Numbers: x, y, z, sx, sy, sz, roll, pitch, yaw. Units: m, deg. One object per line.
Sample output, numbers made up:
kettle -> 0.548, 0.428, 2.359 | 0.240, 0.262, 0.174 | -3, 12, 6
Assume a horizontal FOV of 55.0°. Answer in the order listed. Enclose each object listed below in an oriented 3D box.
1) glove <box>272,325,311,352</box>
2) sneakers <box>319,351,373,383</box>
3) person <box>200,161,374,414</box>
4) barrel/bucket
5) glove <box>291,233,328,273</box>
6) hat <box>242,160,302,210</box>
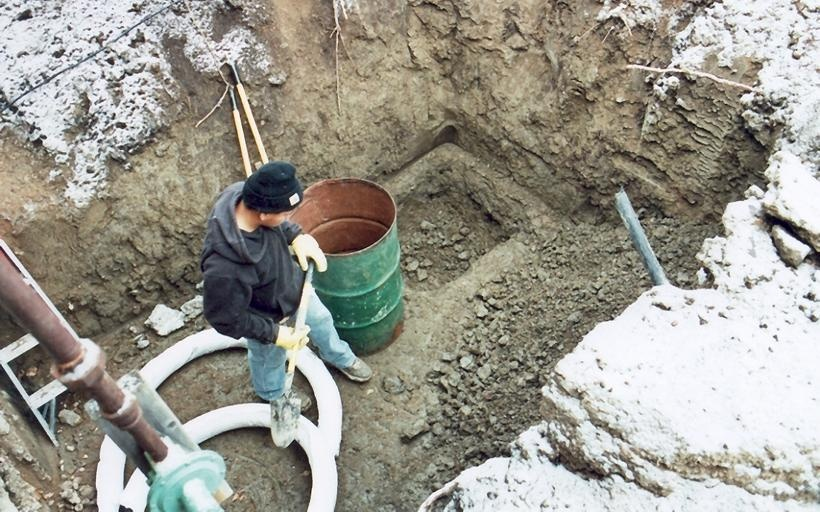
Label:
glove -> -0.889, 0.619, 5.834 | 0.213, 0.187, 0.355 | -4, 10, -1
sneakers -> -0.535, 0.961, 6.697 | 0.463, 0.205, 0.209 | 22, 71, 5
person -> -0.947, 0.354, 6.180 | 0.835, 1.923, 0.843 | 3, 66, 5
barrel/bucket -> -0.387, 0.135, 6.846 | 0.846, 1.299, 0.908 | -12, 46, 12
glove -> -0.767, -0.013, 6.078 | 0.227, 0.087, 0.297 | -39, 93, 1
hat -> -0.938, -0.512, 5.592 | 0.404, 0.276, 0.460 | -10, 31, -6
